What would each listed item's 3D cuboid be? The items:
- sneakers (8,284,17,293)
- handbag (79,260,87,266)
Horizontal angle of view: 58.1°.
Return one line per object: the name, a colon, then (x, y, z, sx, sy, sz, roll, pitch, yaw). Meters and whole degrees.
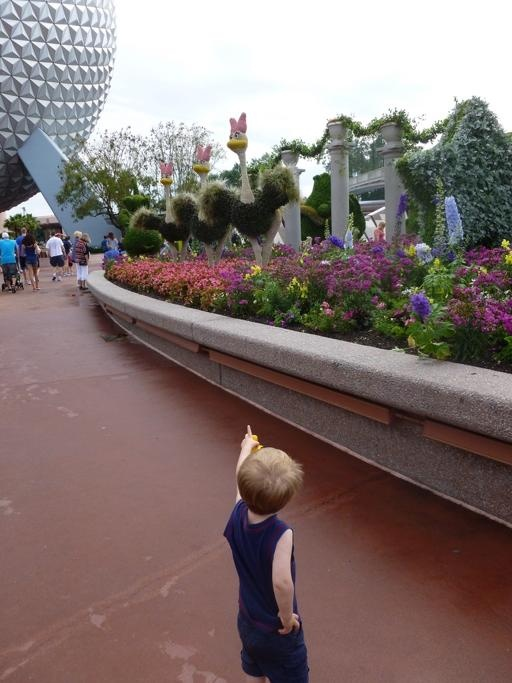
sneakers: (-7.737, -1.718, 14.686, 0.453, 0.306, 0.236, 5, 11, 35)
handbag: (-5.094, -2.312, 13.552, 0.135, 0.108, 0.141, 4, 18, 6)
